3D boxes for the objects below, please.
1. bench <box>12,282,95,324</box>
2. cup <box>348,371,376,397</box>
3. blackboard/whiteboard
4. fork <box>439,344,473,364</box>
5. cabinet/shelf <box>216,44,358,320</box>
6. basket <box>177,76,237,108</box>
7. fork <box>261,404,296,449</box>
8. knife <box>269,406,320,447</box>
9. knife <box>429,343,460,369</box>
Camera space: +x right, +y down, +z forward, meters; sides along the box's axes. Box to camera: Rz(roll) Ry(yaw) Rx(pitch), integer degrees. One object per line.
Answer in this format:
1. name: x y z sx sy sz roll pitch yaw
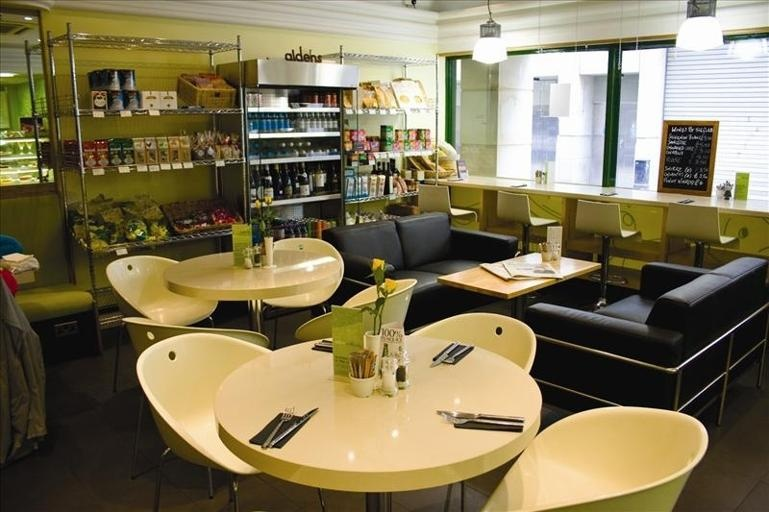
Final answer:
1. bench: -2.869 0.410 4.910 0.543 0.188 0.532 -14 20 -36
2. cup: -0.094 0.571 2.515 0.097 0.070 0.098 1 10 0
3. blackboard/whiteboard: 3.372 -1.076 6.187 0.078 1.057 0.761 -5 11 -42
4. fork: 0.368 0.502 2.848 0.064 0.022 0.212 18 18 25
5. cabinet/shelf: -1.005 -1.011 6.665 1.250 2.525 0.756 -4 24 -17
6. basket: -1.823 -1.653 5.812 0.324 0.221 0.466 20 26 30
7. fork: -0.436 0.714 2.361 0.037 0.042 0.286 -5 25 18
8. knife: -0.371 0.707 2.338 0.058 0.025 0.301 4 19 28
9. knife: 0.296 0.507 2.841 0.056 0.016 0.330 17 16 21
